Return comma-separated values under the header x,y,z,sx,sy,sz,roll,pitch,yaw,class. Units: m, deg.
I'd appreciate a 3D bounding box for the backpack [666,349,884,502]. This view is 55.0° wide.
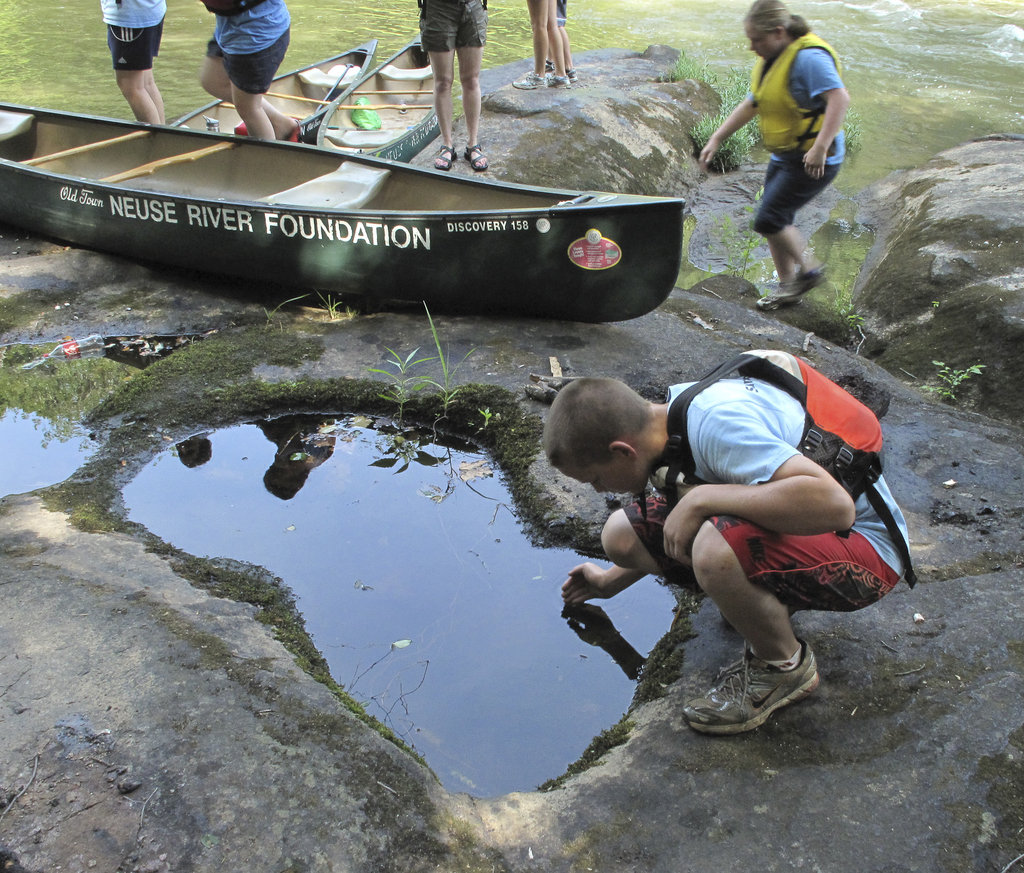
x,y,z,sx,sy,sz,roll,pitch,yaw,class
0.730,0.000,3.200,0.887,0.549,0.495,-3,0,-16,backpack

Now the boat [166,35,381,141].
x,y,z,sx,sy,sz,roll,pitch,yaw,class
-1.917,-2.999,8.518,0.832,0.346,2.445,32,46,32,boat

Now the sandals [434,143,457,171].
x,y,z,sx,sy,sz,roll,pitch,yaw,class
-0.447,-2.015,7.050,0.156,0.118,0.354,-6,16,7,sandals

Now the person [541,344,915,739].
x,y,z,sx,sy,sz,roll,pitch,yaw,class
0.649,0.354,3.455,1.807,1.101,1.120,-4,1,17,person

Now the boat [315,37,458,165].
x,y,z,sx,sy,sz,roll,pitch,yaw,class
-1.038,-2.813,8.092,0.701,0.239,1.839,10,37,4,boat

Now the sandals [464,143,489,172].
x,y,z,sx,sy,sz,roll,pitch,yaw,class
-0.258,-2.049,7.161,0.127,0.097,0.280,-17,37,-19,sandals

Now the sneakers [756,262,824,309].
x,y,z,sx,sy,sz,roll,pitch,yaw,class
1.748,-0.926,6.195,0.519,0.202,0.156,-24,22,27,sneakers

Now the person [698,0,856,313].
x,y,z,sx,sy,sz,roll,pitch,yaw,class
1.584,-1.602,5.788,0.479,1.800,0.760,-14,51,-19,person
